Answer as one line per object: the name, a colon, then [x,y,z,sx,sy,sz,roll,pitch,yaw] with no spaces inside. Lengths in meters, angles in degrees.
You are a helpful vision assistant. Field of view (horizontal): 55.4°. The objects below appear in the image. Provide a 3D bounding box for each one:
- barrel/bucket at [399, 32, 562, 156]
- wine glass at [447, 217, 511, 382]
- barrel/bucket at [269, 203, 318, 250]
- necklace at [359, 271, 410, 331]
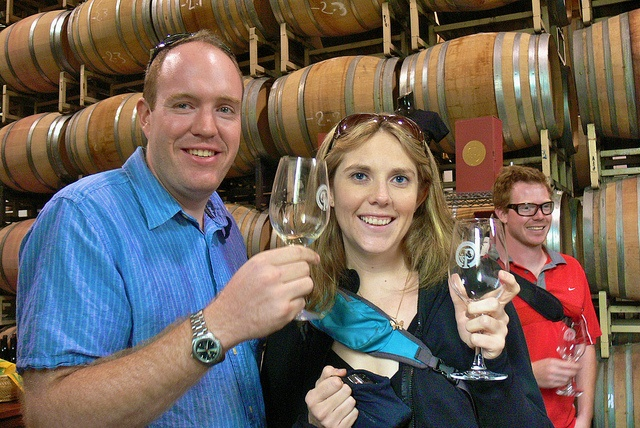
barrel/bucket: [1.596,-1.271,5.586,1.352,1.087,1.143,0,23,21]
wine glass: [0.816,0.436,3.086,0.330,0.829,0.180,-5,0,10]
barrel/bucket: [-0.110,0.056,3.079,0.200,0.350,0.216,0,1,0]
necklace: [0.379,0.487,3.382,0.156,0.270,0.101,-17,-8,10]
